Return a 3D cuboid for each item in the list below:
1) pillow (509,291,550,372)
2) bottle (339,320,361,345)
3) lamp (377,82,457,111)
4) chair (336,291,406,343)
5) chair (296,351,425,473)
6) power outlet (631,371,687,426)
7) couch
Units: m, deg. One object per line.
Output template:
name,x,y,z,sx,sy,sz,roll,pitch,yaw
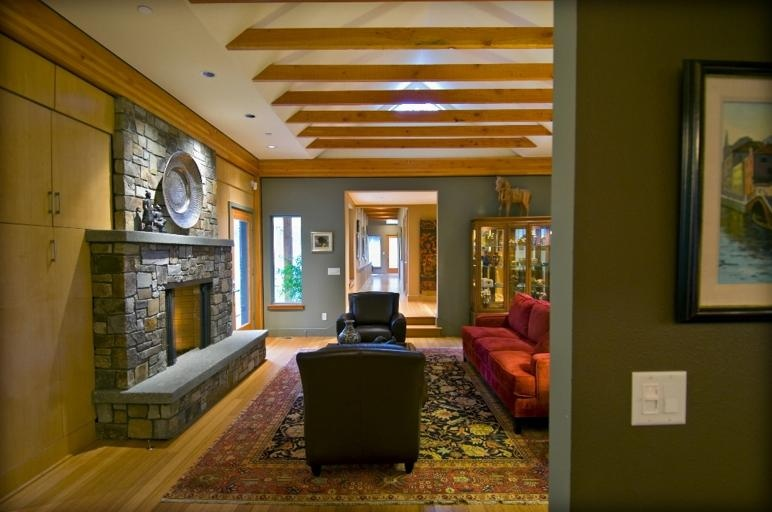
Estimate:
pillow,1.405,0.758,5.468,0.248,0.313,0.789,-4,4,3
bottle,-0.381,0.750,5.588,0.180,0.244,0.537,-2,13,-7
lamp,0.404,-1.767,6.197,0.819,0.308,1.250,-2,13,-9
chair,-0.172,0.719,6.737,0.840,0.783,0.602,0,-11,-1
chair,-0.181,1.132,4.492,0.898,0.939,0.936,0,0,4
power outlet,1.355,0.703,2.774,0.289,0.271,0.030,1,-1,-2
couch,1.137,1.121,5.206,0.407,0.491,1.236,5,3,3
